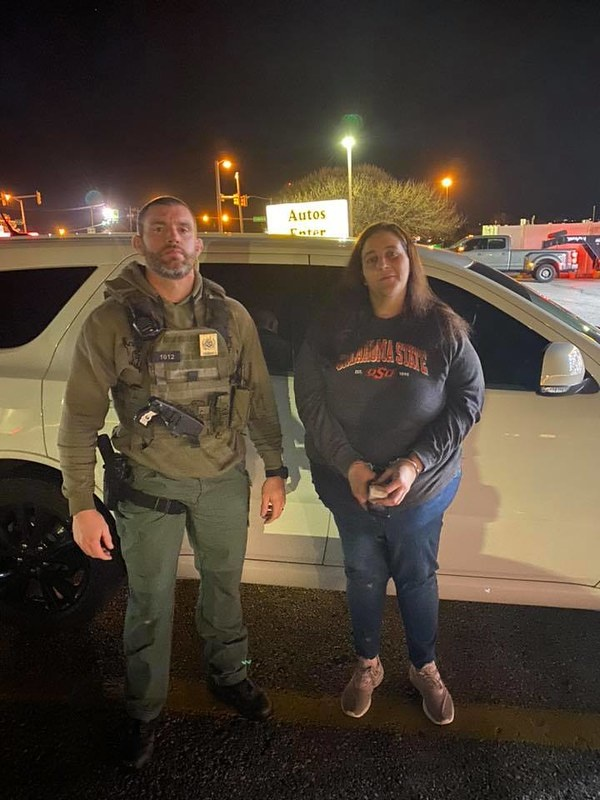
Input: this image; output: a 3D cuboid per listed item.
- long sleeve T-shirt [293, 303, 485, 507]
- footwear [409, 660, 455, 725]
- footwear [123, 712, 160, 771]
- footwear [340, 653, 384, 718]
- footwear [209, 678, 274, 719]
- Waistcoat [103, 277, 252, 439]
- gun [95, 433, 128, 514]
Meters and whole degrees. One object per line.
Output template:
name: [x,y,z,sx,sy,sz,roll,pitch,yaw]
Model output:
long sleeve T-shirt: [0.311,0.019,2.005,0.780,0.678,0.443,3,19,9]
footwear: [0.469,1.063,2.195,0.111,0.114,0.267,-15,20,-9]
footwear: [-0.546,1.168,2.038,0.110,0.281,0.082,7,19,6]
footwear: [0.252,1.041,2.233,0.116,0.155,0.265,21,32,13]
footwear: [-0.231,1.119,2.265,0.272,0.104,0.099,6,12,27]
Waistcoat: [-0.455,-0.148,2.010,0.494,0.579,0.362,-5,20,-30]
gun: [-0.618,0.248,1.993,0.129,0.256,0.054,3,7,17]
